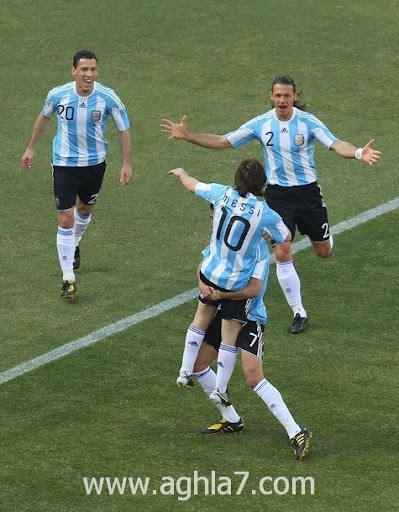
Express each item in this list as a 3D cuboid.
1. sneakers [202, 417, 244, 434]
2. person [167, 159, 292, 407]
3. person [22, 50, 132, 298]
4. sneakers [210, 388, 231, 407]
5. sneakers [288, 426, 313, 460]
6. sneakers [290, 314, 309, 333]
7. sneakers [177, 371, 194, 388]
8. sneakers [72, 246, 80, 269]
[{"bbox_3d":[0.142,0.999,4.777,0.288,0.085,0.085,1,0,-4],"label":"sneakers"},{"bbox_3d":[0.095,0.126,4.577,0.654,1.336,0.751,10,29,8],"label":"person"},{"bbox_3d":[-0.945,-0.737,6.625,0.881,1.863,1.089,-5,30,-18],"label":"person"},{"bbox_3d":[0.120,0.787,4.547,0.172,0.073,0.063,30,-24,-37],"label":"sneakers"},{"bbox_3d":[0.553,1.019,4.464,0.112,0.068,0.192,11,36,4],"label":"sneakers"},{"bbox_3d":[0.737,0.498,5.883,0.080,0.075,0.199,3,11,25],"label":"sneakers"},{"bbox_3d":[-0.080,0.719,4.765,0.068,0.050,0.120,6,-6,17],"label":"sneakers"},{"bbox_3d":[-1.061,0.021,7.020,0.075,0.158,0.079,-1,-14,-6],"label":"sneakers"}]
